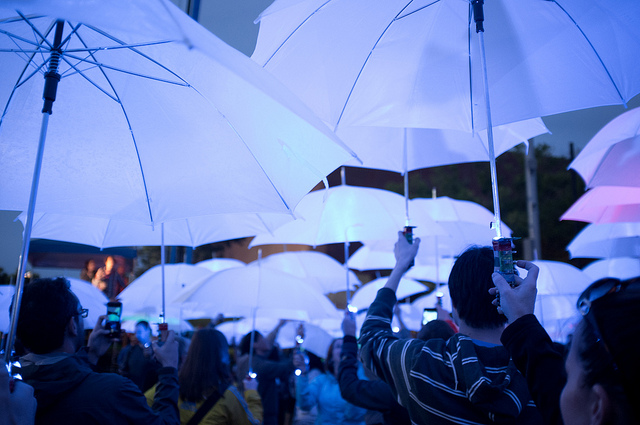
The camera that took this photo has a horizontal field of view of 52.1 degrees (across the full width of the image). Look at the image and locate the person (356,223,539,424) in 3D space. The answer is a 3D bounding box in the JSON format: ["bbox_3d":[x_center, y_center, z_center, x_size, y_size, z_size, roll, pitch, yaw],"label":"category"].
[{"bbox_3d":[0.869,0.767,4.714,1.127,1.468,0.426,-11,-16,35],"label":"person"}]

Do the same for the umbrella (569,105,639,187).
[{"bbox_3d":[2.726,-0.544,6.076,0.676,0.253,0.702,19,-43,-2],"label":"umbrella"}]

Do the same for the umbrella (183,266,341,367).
[{"bbox_3d":[-0.633,1.034,7.946,1.341,0.904,1.331,-9,-27,33],"label":"umbrella"}]

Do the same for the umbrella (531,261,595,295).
[{"bbox_3d":[3.003,0.838,8.163,0.711,0.273,0.732,-3,6,-21],"label":"umbrella"}]

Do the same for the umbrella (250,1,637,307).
[{"bbox_3d":[1.277,-0.546,5.636,2.560,2.374,2.627,-11,-29,28],"label":"umbrella"}]
